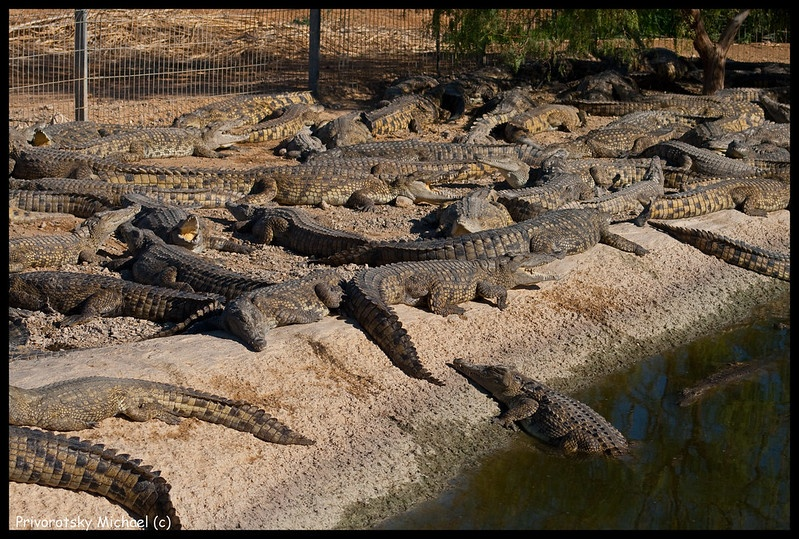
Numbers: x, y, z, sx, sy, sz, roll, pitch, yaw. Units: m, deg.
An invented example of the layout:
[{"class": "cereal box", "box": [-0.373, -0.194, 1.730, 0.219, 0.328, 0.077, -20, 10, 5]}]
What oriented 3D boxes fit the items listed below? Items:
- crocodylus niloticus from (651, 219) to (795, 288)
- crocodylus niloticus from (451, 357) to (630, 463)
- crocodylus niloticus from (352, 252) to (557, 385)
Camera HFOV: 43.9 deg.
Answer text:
[{"class": "crocodylus niloticus", "box": [4.865, -0.201, 14.946, 1.535, 0.868, 1.976, -1, 23, 15]}, {"class": "crocodylus niloticus", "box": [1.722, 1.679, 12.063, 2.109, 0.526, 0.786, 28, 9, 7]}, {"class": "crocodylus niloticus", "box": [0.474, 0.435, 13.255, 2.415, 1.037, 1.406, -17, 25, -42]}]
